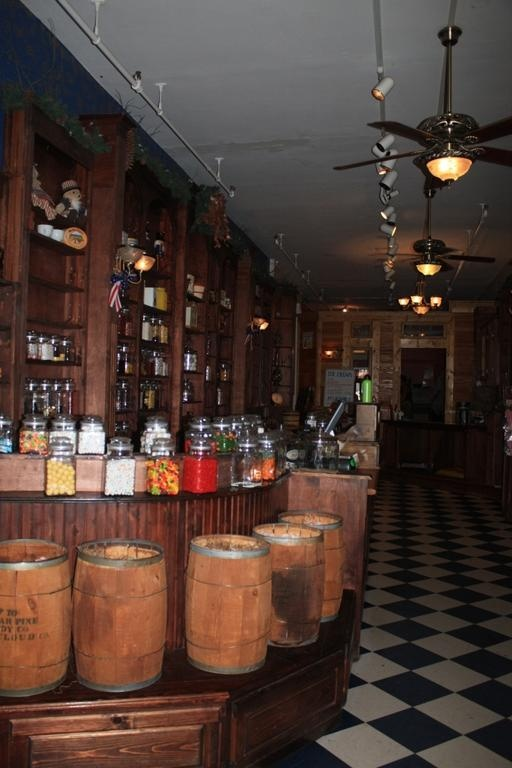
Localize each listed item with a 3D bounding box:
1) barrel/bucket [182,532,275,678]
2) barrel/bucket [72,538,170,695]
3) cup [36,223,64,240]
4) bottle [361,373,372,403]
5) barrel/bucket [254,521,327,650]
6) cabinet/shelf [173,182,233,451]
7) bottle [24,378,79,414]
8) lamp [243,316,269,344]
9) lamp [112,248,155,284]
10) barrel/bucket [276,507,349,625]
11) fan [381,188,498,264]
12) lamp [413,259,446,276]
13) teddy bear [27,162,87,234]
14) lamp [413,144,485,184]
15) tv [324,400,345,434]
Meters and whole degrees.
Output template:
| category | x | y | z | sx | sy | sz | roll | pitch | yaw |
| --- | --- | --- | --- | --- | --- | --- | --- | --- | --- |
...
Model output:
| category | x | y | z | sx | sy | sz | roll | pitch | yaw |
| --- | --- | --- | --- | --- | --- | --- | --- | --- | --- |
| barrel/bucket | -0.087 | 0.758 | 2.121 | 0.375 | 0.418 | 0.390 | 1 | -3 | 0 |
| barrel/bucket | -0.401 | 0.719 | 2.042 | 0.387 | 0.561 | 0.389 | 1 | -4 | 0 |
| cup | -1.265 | -0.931 | 3.655 | 0.110 | 0.058 | 0.127 | 6 | 11 | -5 |
| bottle | 1.047 | 0.055 | 5.612 | 0.097 | 0.267 | 0.385 | 3 | -2 | 10 |
| barrel/bucket | 0.047 | 0.795 | 2.384 | 0.376 | 0.411 | 0.394 | 1 | -7 | 0 |
| cabinet/shelf | -0.507 | -0.715 | 6.567 | 0.527 | 1.825 | 2.280 | 3 | -2 | -1 |
| bottle | -1.302 | 0.076 | 3.741 | 0.079 | 0.208 | 0.233 | 2 | 0 | 14 |
| lamp | 0.026 | -0.691 | 8.174 | 0.337 | 0.253 | 0.473 | -3 | -43 | -1 |
| lamp | -0.875 | -0.851 | 4.219 | 0.249 | 0.310 | 0.391 | 4 | 5 | 9 |
| barrel/bucket | 0.329 | 0.809 | 2.754 | 0.385 | 0.574 | 0.417 | 1 | 2 | 0 |
| fan | 2.193 | -1.895 | 7.040 | 0.698 | 0.723 | 0.639 | 3 | -17 | -2 |
| lamp | 1.736 | -1.158 | 5.938 | 0.274 | 0.118 | 0.296 | 3 | -2 | 17 |
| teddy bear | -1.183 | -1.121 | 3.635 | 0.364 | 0.434 | 0.192 | -1 | 6 | -16 |
| lamp | 1.063 | -1.216 | 3.348 | 0.310 | 0.162 | 0.312 | 7 | 10 | 42 |
| tv | 0.813 | 0.333 | 6.030 | 0.094 | 0.375 | 0.099 | 1 | 27 | -38 |
